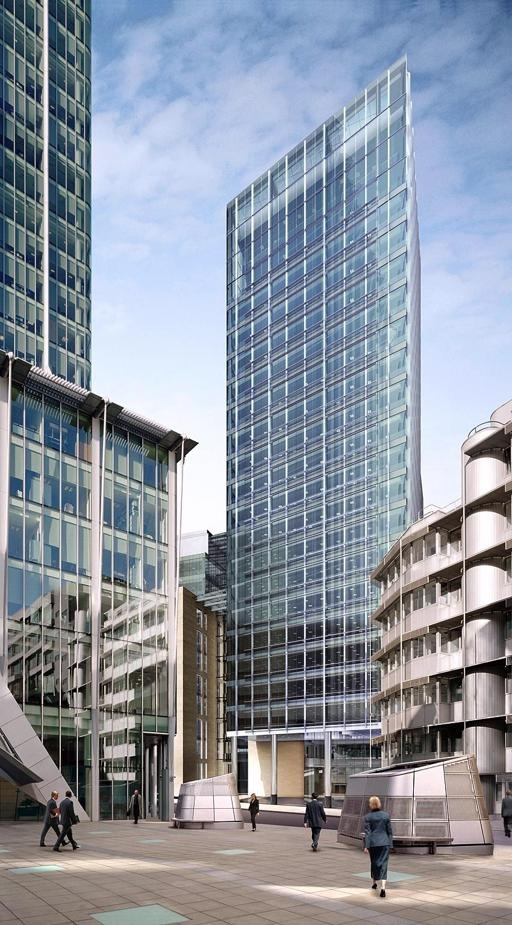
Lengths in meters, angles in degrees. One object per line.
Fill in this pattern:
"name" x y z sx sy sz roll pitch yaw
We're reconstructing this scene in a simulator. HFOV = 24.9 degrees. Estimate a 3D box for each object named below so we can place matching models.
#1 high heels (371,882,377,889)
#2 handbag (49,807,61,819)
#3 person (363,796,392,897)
"high heels" 2.044 7.347 20.125 0.057 0.071 0.170 2 -15 1
"handbag" -4.919 8.525 28.277 0.277 0.305 0.210 1 -7 -18
"person" 2.095 6.605 19.968 0.446 1.622 1.133 -2 -15 5
